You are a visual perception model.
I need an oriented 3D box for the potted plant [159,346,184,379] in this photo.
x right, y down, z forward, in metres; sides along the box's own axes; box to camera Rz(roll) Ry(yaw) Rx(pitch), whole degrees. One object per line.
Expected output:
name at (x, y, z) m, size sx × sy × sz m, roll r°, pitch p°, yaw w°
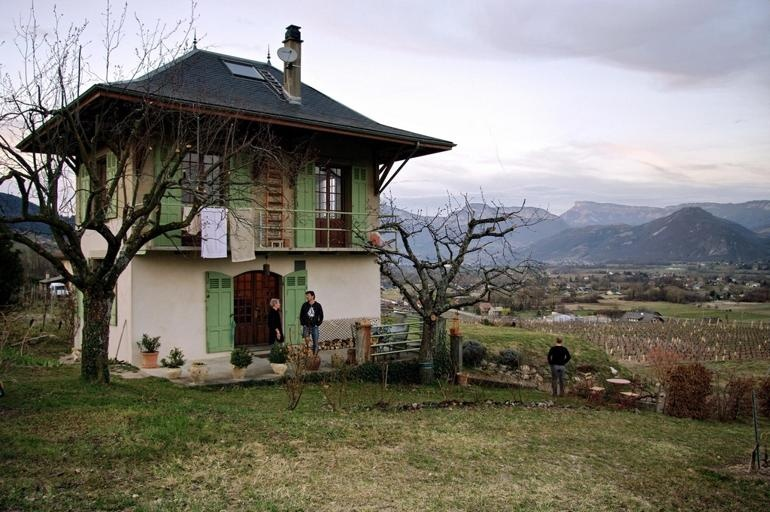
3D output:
potted plant at (-6.820, 3.451, 18.548) m, size 0.606 × 0.908 × 0.653 m, roll 4°, pitch 5°, yaw -34°

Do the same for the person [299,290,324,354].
person at (-2.613, 2.339, 20.496) m, size 0.825 × 2.212 × 0.822 m, roll 3°, pitch 5°, yaw -40°

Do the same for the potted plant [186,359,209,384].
potted plant at (-5.973, 3.693, 18.330) m, size 0.541 × 0.545 × 0.796 m, roll 2°, pitch -7°, yaw -29°

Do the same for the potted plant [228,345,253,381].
potted plant at (-4.710, 3.538, 18.951) m, size 0.927 × 1.135 × 0.897 m, roll 2°, pitch -6°, yaw -5°

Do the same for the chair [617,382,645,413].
chair at (10.323, 5.909, 24.114) m, size 1.222 × 1.166 × 1.154 m, roll 1°, pitch 3°, yaw 43°

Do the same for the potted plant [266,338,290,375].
potted plant at (-3.419, 3.394, 19.689) m, size 0.967 × 1.294 × 0.959 m, roll -1°, pitch -1°, yaw 1°

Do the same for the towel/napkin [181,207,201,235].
towel/napkin at (-6.900, -1.270, 20.498) m, size 0.657 × 1.031 × 0.453 m, roll 4°, pitch 5°, yaw -26°
